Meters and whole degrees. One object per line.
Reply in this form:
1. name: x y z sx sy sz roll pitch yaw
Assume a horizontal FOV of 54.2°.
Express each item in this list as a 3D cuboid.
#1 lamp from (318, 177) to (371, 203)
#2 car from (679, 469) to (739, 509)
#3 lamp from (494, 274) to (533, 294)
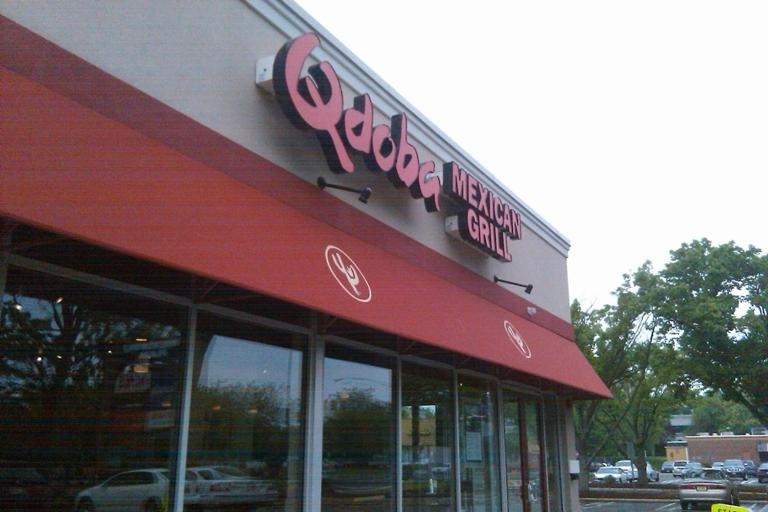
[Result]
1. lamp: -0.647 -1.095 12.272 0.953 0.338 0.335 4 23 26
2. car: 12.200 8.762 28.632 1.278 0.895 2.843 -7 -13 24
3. lamp: 2.782 0.504 16.446 0.840 0.291 0.456 7 -12 20
